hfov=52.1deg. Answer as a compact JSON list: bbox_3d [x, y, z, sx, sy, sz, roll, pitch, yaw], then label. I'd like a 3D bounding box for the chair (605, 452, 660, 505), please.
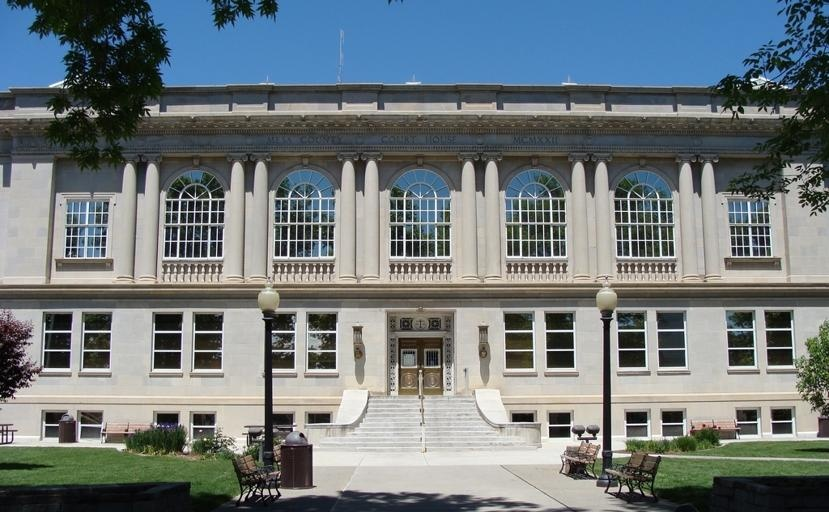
[{"bbox_3d":[7.924,7.912,30.702,1.726,1.577,2.306,3,-11,-22],"label":"chair"}]

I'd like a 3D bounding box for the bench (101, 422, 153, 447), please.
[{"bbox_3d":[-14.602,8.843,42.792,2.375,1.067,1.931,1,-11,-12],"label":"bench"}]

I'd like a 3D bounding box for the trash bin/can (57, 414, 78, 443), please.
[{"bbox_3d":[-17.447,8.676,42.853,0.782,1.353,0.790,4,-12,-26],"label":"trash bin/can"}]

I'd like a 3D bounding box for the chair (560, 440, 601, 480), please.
[{"bbox_3d":[6.435,7.973,33.405,1.459,1.282,1.836,-2,-10,6],"label":"chair"}]

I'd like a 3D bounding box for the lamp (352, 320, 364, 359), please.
[{"bbox_3d":[-2.867,4.469,44.294,0.592,1.737,0.502,0,-10,-4],"label":"lamp"}]
